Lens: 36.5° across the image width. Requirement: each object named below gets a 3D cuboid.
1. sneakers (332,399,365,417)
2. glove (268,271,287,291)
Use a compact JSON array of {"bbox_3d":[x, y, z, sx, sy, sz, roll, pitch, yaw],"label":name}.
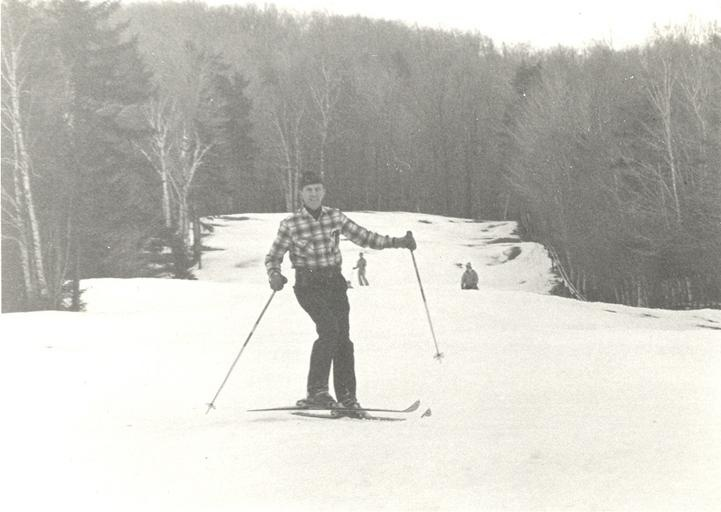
[{"bbox_3d":[-0.136,1.958,13.934,0.449,0.216,0.225,-1,12,-4],"label":"sneakers"},{"bbox_3d":[-1.048,0.351,13.977,0.204,0.275,0.353,-1,12,-5],"label":"glove"}]
